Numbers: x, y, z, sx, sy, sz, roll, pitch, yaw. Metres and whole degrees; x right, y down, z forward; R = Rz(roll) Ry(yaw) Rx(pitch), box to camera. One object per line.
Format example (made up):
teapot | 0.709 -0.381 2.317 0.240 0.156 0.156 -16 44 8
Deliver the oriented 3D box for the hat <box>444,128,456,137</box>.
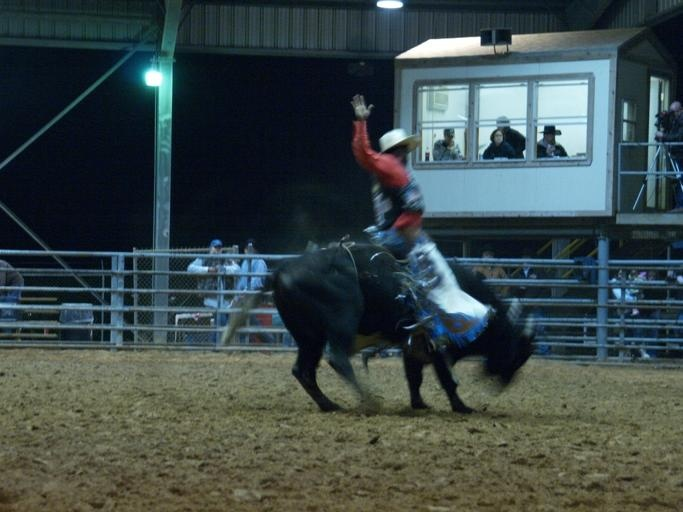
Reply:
hat | 2.188 -2.450 28.033 0.182 0.186 0.136 -6 12 16

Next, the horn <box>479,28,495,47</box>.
horn | 2.910 -4.291 27.985 0.286 0.296 0.277 0 -1 -10

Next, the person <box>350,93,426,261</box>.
person | 0.733 -1.196 21.143 1.066 2.383 0.472 0 2 -2

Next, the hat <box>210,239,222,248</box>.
hat | -2.563 -0.294 29.288 0.212 0.163 0.311 29 -12 -19

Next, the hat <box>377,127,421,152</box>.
hat | 0.810 -1.768 21.204 0.387 0.165 0.429 -15 -13 -34

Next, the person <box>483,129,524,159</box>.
person | 3.243 -2.355 28.057 0.847 0.442 1.209 0 -20 7
